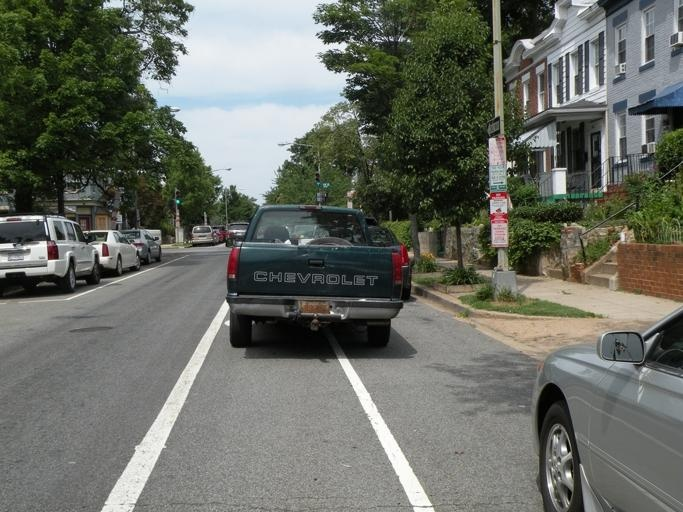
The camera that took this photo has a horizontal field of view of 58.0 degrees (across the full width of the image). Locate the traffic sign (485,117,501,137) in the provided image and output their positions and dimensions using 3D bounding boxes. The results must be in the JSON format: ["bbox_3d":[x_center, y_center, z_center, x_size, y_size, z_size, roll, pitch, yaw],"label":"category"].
[{"bbox_3d":[3.557,-2.995,14.404,0.107,0.410,0.403,2,-4,-36],"label":"traffic sign"}]

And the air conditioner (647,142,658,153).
[{"bbox_3d":[11.562,-4.032,23.224,0.240,0.450,0.701,0,5,18],"label":"air conditioner"}]

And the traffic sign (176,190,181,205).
[{"bbox_3d":[-14.033,-4.919,52.947,0.289,1.252,1.301,-3,5,-10],"label":"traffic sign"}]

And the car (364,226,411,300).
[{"bbox_3d":[1.256,0.030,15.177,1.007,1.132,2.311,-1,7,1],"label":"car"}]

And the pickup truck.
[{"bbox_3d":[-0.517,0.279,9.243,1.694,1.501,3.192,1,7,-7],"label":"pickup truck"}]

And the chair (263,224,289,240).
[{"bbox_3d":[-1.056,-0.357,10.024,0.305,0.233,0.229,1,7,-4],"label":"chair"}]

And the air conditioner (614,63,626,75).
[{"bbox_3d":[11.491,-7.690,25.532,0.301,0.458,0.593,1,5,-3],"label":"air conditioner"}]
